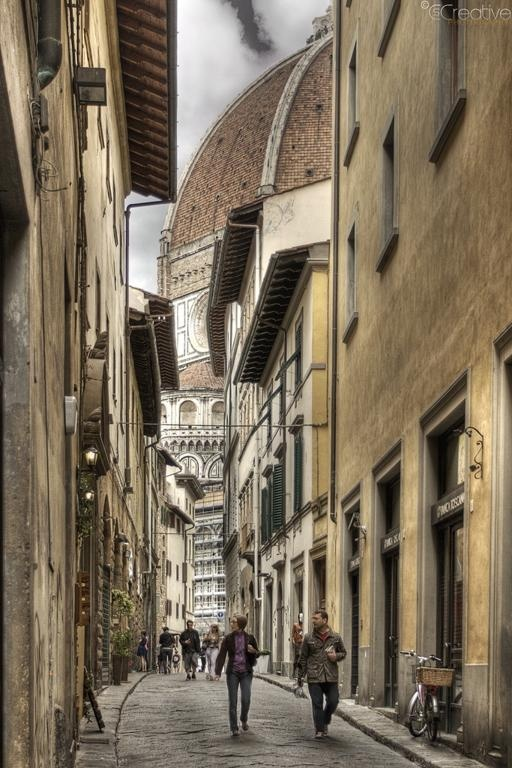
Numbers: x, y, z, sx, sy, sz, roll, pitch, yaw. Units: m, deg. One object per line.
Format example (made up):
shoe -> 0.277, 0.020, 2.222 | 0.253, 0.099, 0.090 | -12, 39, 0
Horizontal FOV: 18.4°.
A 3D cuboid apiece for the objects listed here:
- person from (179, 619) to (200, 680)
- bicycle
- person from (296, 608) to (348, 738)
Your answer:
person -> -1.303, 5.296, 31.261 | 0.246, 1.160, 0.281 | 2, 10, 9
bicycle -> 1.471, 2.723, 13.542 | 0.229, 0.625, 0.879 | 3, -10, -2
person -> 0.603, 2.813, 15.290 | 0.508, 1.341, 0.615 | -5, -15, 28
